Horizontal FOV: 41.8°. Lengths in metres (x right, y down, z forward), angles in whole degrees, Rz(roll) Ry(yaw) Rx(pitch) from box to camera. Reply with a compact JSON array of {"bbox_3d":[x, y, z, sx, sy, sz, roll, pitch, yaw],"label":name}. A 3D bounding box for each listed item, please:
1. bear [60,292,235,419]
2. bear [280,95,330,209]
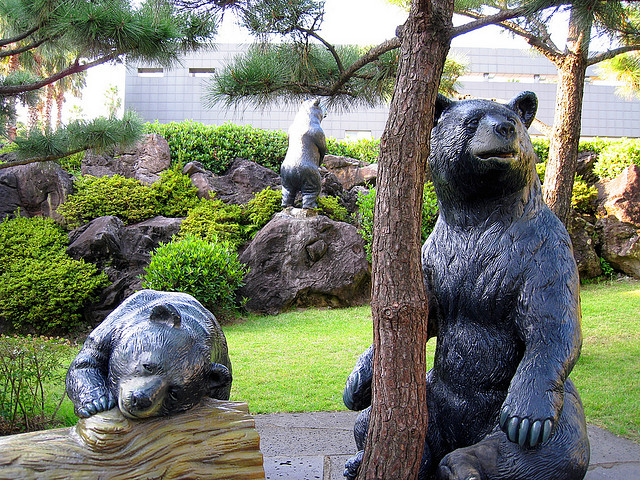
[{"bbox_3d":[-1.510,1.031,7.425,1.411,0.975,0.690,0,8,-14],"label":"bear"},{"bbox_3d":[-0.292,-1.485,14.369,0.766,1.916,0.748,0,7,-7],"label":"bear"}]
